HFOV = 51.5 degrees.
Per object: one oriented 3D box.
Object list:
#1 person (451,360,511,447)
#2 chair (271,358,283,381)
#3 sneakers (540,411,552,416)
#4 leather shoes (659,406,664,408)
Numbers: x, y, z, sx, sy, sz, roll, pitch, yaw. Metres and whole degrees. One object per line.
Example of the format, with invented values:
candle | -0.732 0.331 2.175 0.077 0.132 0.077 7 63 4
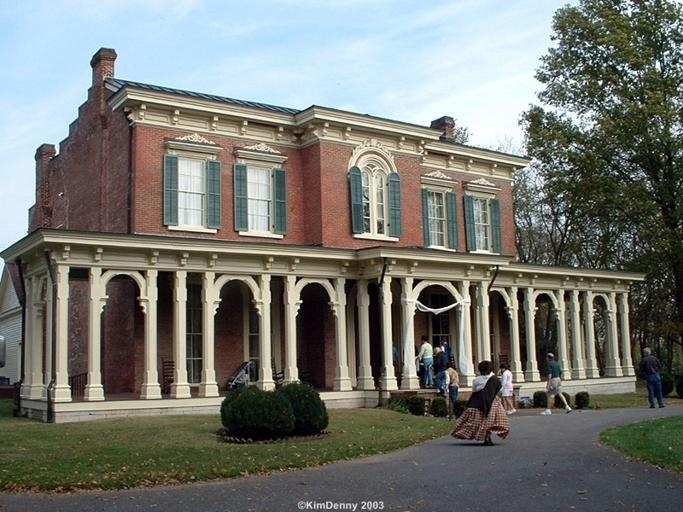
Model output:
person | 3.236 3.407 16.290 0.588 1.943 1.042 2 -4 -42
chair | -2.328 4.158 25.738 0.416 0.759 1.565 0 -3 -7
sneakers | 6.677 5.124 23.135 0.187 0.132 0.322 1 -4 -20
leather shoes | 11.308 5.328 25.004 0.184 0.070 0.107 -5 -2 15
